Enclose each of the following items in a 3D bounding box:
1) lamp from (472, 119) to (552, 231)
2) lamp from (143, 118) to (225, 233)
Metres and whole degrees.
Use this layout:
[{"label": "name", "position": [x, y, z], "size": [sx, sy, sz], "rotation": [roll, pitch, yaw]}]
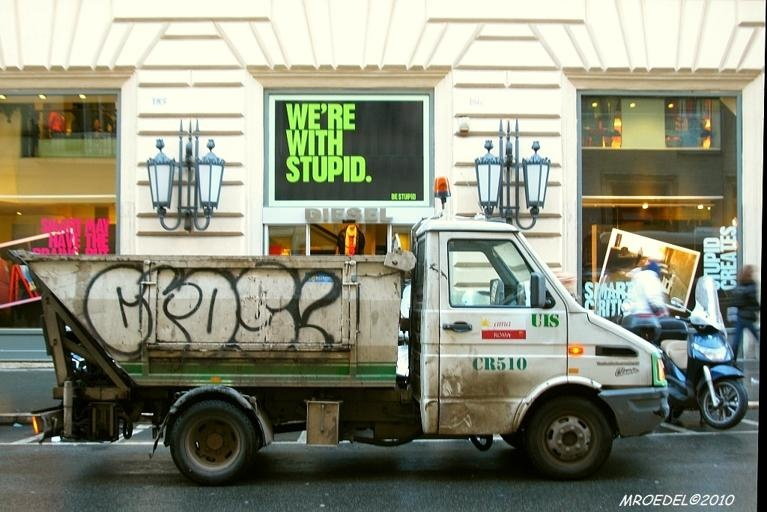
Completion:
[{"label": "lamp", "position": [2.775, -1.536, 27.670], "size": [1.526, 3.064, 0.846], "rotation": [1, -8, 0]}, {"label": "lamp", "position": [-4.335, -1.674, 27.619], "size": [1.849, 3.264, 1.194], "rotation": [0, -15, -3]}]
